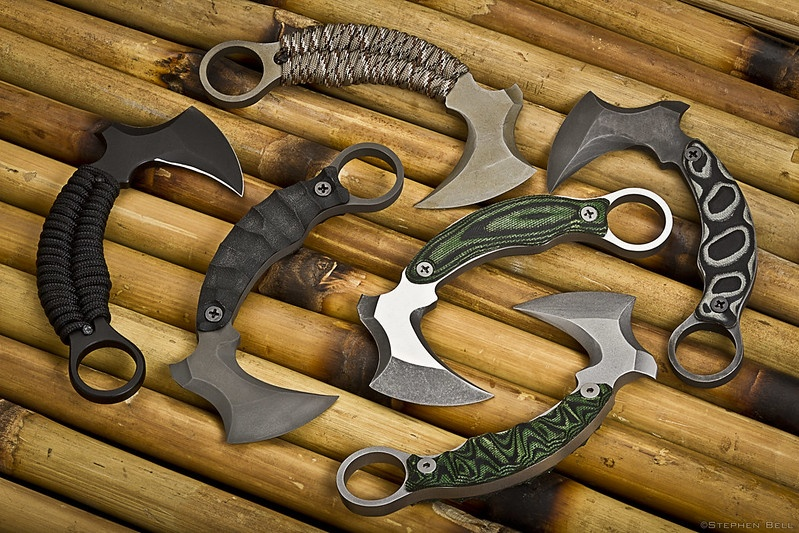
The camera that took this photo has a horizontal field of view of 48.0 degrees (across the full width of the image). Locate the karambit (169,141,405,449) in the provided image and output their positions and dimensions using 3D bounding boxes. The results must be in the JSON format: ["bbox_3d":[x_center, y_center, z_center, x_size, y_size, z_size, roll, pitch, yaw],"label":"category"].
[{"bbox_3d":[-0.281,0.053,2.390,0.374,0.850,0.338,9,-37,26],"label":"karambit"}]

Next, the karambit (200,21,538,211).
[{"bbox_3d":[-0.079,-0.510,2.657,0.919,0.466,0.092,6,-18,1],"label":"karambit"}]

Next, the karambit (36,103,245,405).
[{"bbox_3d":[-0.809,-0.007,2.480,0.532,0.747,0.101,4,-30,-7],"label":"karambit"}]
